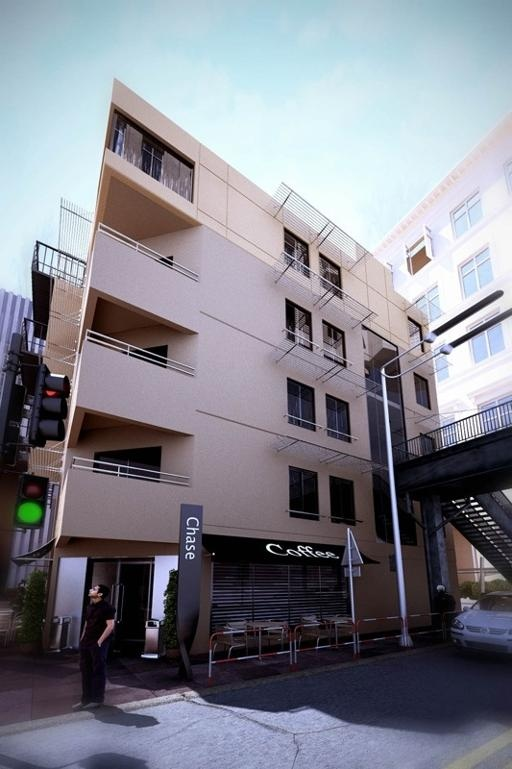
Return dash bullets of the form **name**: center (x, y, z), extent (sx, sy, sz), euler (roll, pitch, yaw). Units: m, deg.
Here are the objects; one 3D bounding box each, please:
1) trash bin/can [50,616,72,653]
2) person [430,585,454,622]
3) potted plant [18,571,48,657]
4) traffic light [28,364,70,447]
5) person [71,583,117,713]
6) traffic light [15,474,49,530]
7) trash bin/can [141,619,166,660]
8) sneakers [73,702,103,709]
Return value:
- **trash bin/can**: center (-5.476, 6.922, 14.073), extent (0.516, 0.803, 0.598), euler (3, -18, -9)
- **person**: center (6.224, 7.367, 16.895), extent (0.587, 1.193, 2.971), euler (-6, -19, 17)
- **potted plant**: center (-6.078, 6.190, 13.845), extent (0.619, 2.005, 0.970), euler (7, -19, -21)
- **traffic light**: center (-1.869, 0.176, 4.604), extent (0.305, 0.871, 0.507), euler (8, -20, -24)
- **person**: center (-2.287, 3.734, 7.236), extent (0.433, 1.580, 0.739), euler (5, -19, -17)
- **traffic light**: center (-2.010, 1.041, 4.537), extent (0.243, 0.484, 0.382), euler (8, -20, -24)
- **trash bin/can**: center (-2.485, 6.183, 12.291), extent (0.544, 0.780, 0.832), euler (4, -19, -12)
- **sneakers**: center (-2.289, 4.384, 6.899), extent (0.367, 0.063, 0.186), euler (5, -20, -15)
